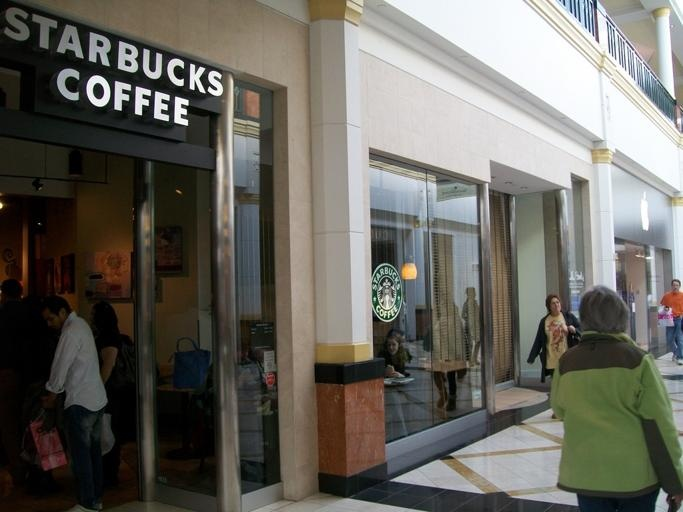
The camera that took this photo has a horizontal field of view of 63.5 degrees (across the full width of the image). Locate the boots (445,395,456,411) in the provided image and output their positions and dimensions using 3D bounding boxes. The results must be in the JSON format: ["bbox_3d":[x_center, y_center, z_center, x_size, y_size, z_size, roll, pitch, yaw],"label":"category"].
[{"bbox_3d":[1.534,2.066,7.797,0.119,0.244,0.230,-4,-7,32],"label":"boots"}]

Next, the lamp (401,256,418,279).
[{"bbox_3d":[0.881,0.145,7.193,0.060,0.278,0.270,2,-5,24],"label":"lamp"}]

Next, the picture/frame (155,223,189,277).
[{"bbox_3d":[-1.768,-0.093,5.766,0.437,0.561,0.055,-13,24,-37],"label":"picture/frame"}]

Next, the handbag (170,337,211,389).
[{"bbox_3d":[-1.513,1.088,5.550,0.430,0.578,0.198,-1,-11,3],"label":"handbag"}]
